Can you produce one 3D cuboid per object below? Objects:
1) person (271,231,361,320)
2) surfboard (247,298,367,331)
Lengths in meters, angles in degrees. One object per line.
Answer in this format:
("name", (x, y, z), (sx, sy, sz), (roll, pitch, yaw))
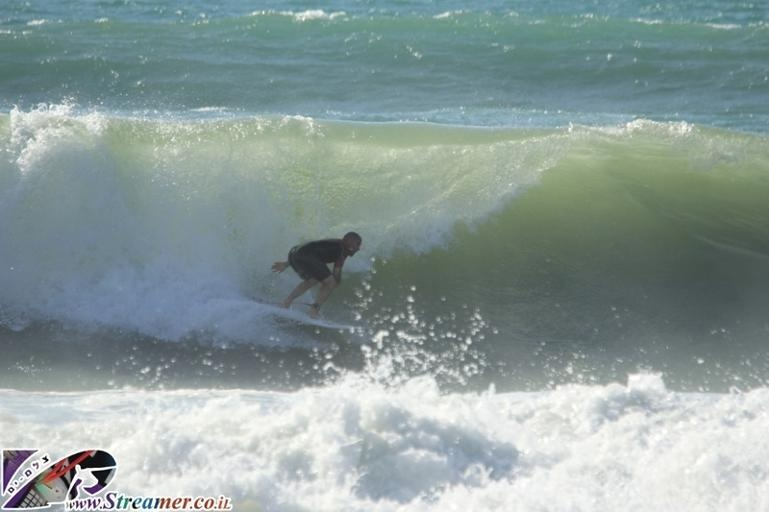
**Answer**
("person", (-0.985, 0.222, 14.189), (1.397, 1.232, 0.580), (4, 5, -23))
("surfboard", (-1.149, 0.865, 14.050), (1.186, 0.119, 0.162), (14, 44, -4))
